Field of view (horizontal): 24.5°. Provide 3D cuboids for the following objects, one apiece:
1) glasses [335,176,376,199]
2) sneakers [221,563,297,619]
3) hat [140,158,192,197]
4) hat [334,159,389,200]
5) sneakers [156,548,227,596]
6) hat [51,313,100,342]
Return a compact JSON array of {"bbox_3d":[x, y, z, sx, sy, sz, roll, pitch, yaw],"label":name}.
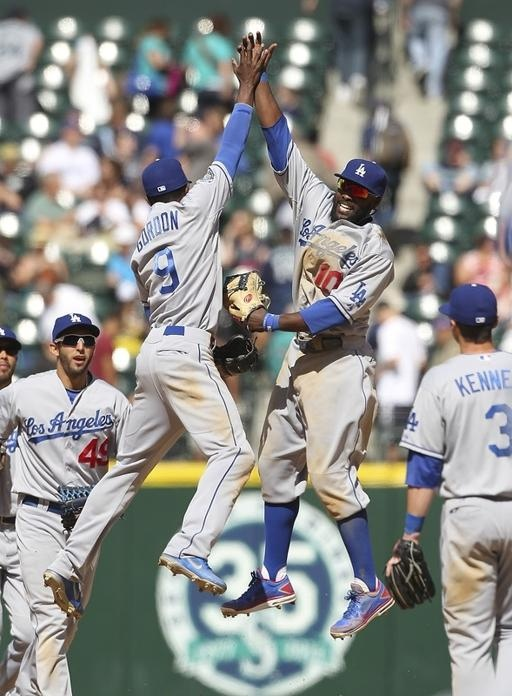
[{"bbox_3d":[0.511,-0.793,5.880,0.035,0.135,0.127,-58,32,-8],"label":"glasses"},{"bbox_3d":[0.029,1.252,6.044,0.473,0.163,0.235,-14,73,-4],"label":"sneakers"},{"bbox_3d":[-0.448,-0.855,5.911,0.177,0.130,0.216,-11,26,16],"label":"hat"},{"bbox_3d":[0.550,-0.858,5.882,0.236,0.126,0.169,21,6,-45],"label":"hat"},{"bbox_3d":[-0.270,1.043,5.476,0.315,0.211,0.162,14,36,25],"label":"sneakers"},{"bbox_3d":[-1.011,-0.129,6.427,0.162,0.207,0.104,5,65,-29],"label":"hat"}]
